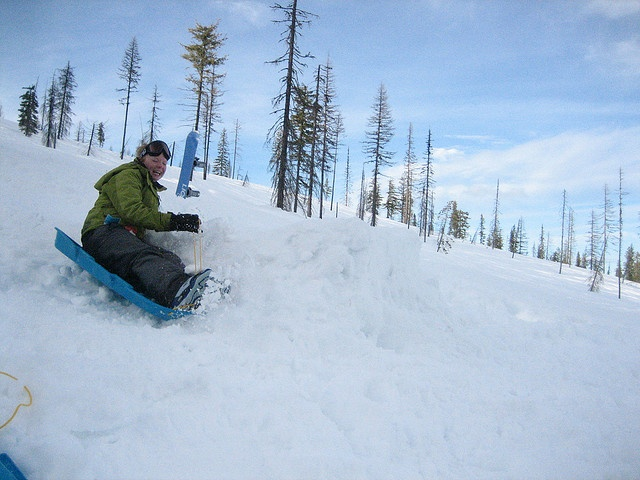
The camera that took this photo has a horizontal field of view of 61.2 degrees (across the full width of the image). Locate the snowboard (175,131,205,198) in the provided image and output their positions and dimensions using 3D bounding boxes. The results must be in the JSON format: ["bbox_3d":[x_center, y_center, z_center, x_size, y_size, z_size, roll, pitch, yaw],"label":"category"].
[{"bbox_3d":[-2.044,-1.187,8.622,0.402,1.048,0.221,12,2,-36],"label":"snowboard"}]
